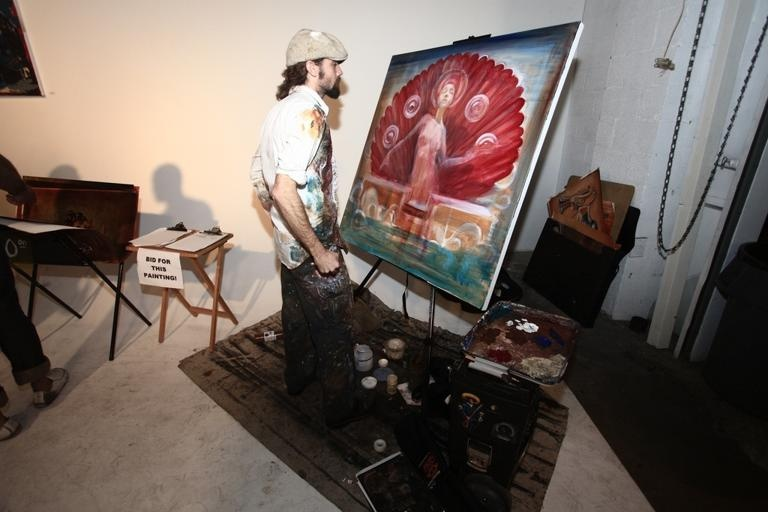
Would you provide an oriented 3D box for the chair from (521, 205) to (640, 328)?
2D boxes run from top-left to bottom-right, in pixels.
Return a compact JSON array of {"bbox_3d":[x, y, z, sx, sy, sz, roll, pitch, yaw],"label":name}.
[{"bbox_3d":[1.367,0.094,3.362,0.396,0.754,0.538,3,27,-44],"label":"chair"}]

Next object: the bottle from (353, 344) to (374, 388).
[{"bbox_3d":[-0.152,0.835,3.689,0.150,0.230,0.265,-5,35,-1],"label":"bottle"}]

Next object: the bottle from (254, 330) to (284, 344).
[{"bbox_3d":[-0.943,0.656,4.012,0.183,0.058,0.101,-3,6,-27],"label":"bottle"}]

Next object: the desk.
[{"bbox_3d":[-1.544,0.293,3.955,0.598,0.904,0.643,8,21,15],"label":"desk"}]

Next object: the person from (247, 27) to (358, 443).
[{"bbox_3d":[-0.472,-0.099,3.095,0.589,2.404,0.709,-4,24,-18],"label":"person"}]

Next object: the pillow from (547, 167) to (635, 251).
[{"bbox_3d":[1.433,-0.361,3.348,0.216,0.436,0.645,-7,26,-25],"label":"pillow"}]

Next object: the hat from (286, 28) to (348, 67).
[{"bbox_3d":[-0.409,-1.239,2.906,0.286,0.156,0.216,-10,41,-13],"label":"hat"}]
